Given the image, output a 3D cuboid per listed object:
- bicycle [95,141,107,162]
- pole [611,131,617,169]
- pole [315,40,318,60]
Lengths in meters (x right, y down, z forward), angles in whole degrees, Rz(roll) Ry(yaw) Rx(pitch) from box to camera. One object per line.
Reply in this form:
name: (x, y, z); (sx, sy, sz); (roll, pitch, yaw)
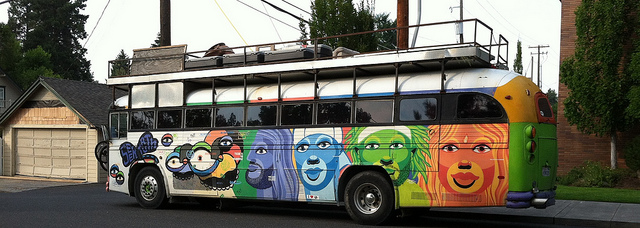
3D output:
bicycle: (-20.339, 3.462, 46.576); (1.308, 1.749, 0.462); (-7, -9, 37)
pole: (30.251, 3.786, 51.671); (0.712, 3.749, 0.663); (-4, -8, 15)
pole: (-0.283, -5.416, 43.548); (0.193, 1.429, 0.345); (-2, -8, 1)
